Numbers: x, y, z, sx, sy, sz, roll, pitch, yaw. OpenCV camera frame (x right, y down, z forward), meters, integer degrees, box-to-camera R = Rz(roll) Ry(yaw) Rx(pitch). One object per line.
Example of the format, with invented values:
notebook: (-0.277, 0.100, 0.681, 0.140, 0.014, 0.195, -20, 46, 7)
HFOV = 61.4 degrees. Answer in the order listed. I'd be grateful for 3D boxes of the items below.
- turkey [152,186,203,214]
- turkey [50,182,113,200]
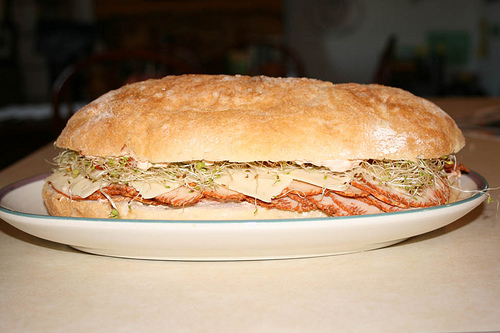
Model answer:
turkey: (-0.205, 0.091, 1.212, 0.102, 0.059, 0.135, 3, 10, 21)
turkey: (-0.528, 0.064, 1.296, 0.169, 0.041, 0.153, 11, 8, 35)
